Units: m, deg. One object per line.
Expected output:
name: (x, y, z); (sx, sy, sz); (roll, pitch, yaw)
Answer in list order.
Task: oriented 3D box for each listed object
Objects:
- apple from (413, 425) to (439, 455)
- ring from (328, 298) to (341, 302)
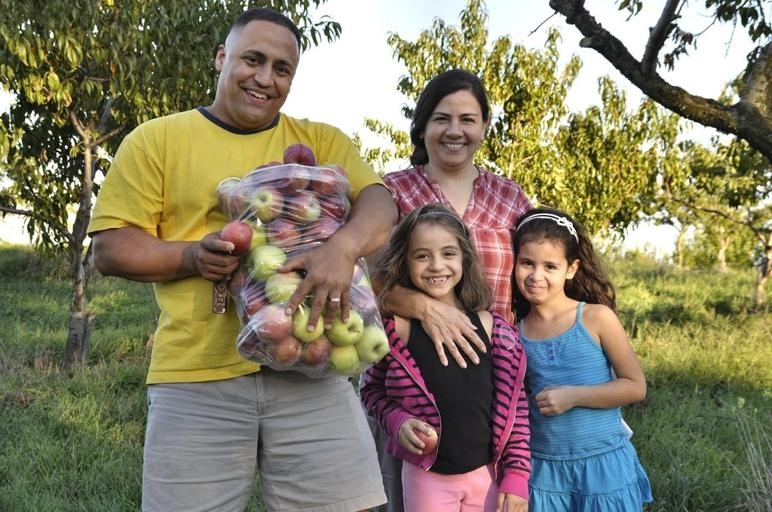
apple: (0.275, 1.217, 3.836); (0.154, 0.161, 0.166); (21, -32, 11)
ring: (-0.287, 0.252, 3.292); (0.063, 0.032, 0.026); (5, -7, -31)
